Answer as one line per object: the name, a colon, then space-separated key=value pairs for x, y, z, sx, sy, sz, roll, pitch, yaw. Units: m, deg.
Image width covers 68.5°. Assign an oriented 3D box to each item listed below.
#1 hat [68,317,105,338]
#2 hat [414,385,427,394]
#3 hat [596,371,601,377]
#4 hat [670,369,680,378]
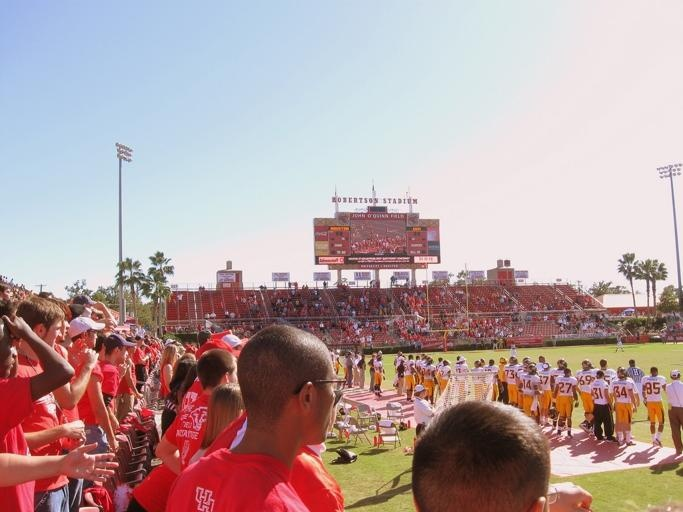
hat: x=-3.408 y=0.996 z=6.658 sx=0.383 sy=0.240 sz=0.266 roll=-8 pitch=16 yaw=-29
hat: x=2.092 y=3.540 z=13.272 sx=0.238 sy=0.248 sz=0.668 roll=-3 pitch=-10 yaw=12
hat: x=7.159 y=3.250 z=13.808 sx=0.183 sy=0.187 sz=0.274 roll=-5 pitch=-11 yaw=26
hat: x=8.243 y=2.911 z=12.303 sx=0.138 sy=0.192 sz=0.423 roll=-9 pitch=-13 yaw=42
